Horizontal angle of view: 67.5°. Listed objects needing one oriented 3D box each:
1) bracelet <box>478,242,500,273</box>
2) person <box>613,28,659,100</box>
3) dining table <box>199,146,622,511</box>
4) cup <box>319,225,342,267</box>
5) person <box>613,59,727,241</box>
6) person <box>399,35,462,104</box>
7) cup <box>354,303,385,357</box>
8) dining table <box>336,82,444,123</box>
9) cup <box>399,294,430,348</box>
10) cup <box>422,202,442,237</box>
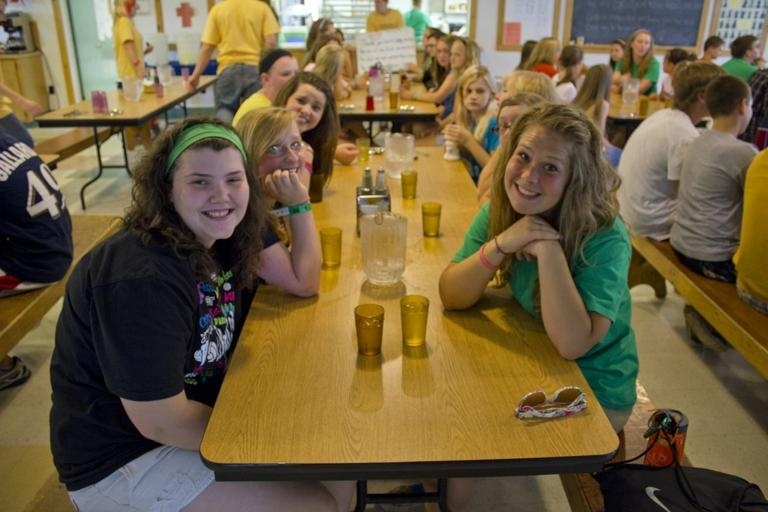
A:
[{"bbox_3d":[0.375,0.003,2.122,0.081,0.021,0.088,-11,62,-55],"label":"bracelet"},{"bbox_3d":[3.136,-2.435,7.150,0.527,0.739,0.505,13,33,26],"label":"person"},{"bbox_3d":[0.083,0.281,2.084,1.191,0.341,1.121,1,21,0],"label":"dining table"},{"bbox_3d":[-0.218,-0.035,2.336,0.109,0.163,0.105,0,23,0],"label":"cup"},{"bbox_3d":[1.856,-0.691,3.668,0.655,1.032,0.650,8,23,19],"label":"person"},{"bbox_3d":[0.568,-1.905,5.987,0.729,0.702,0.465,4,35,-7],"label":"person"},{"bbox_3d":[-0.051,0.247,1.906,0.101,0.137,0.093,-1,11,0],"label":"cup"},{"bbox_3d":[0.189,-1.527,5.555,0.896,0.287,1.288,5,18,17],"label":"dining table"},{"bbox_3d":[0.102,0.222,1.928,0.111,0.164,0.111,-1,22,0],"label":"cup"},{"bbox_3d":[0.213,-0.164,2.569,0.099,0.147,0.097,-1,26,0],"label":"cup"}]
